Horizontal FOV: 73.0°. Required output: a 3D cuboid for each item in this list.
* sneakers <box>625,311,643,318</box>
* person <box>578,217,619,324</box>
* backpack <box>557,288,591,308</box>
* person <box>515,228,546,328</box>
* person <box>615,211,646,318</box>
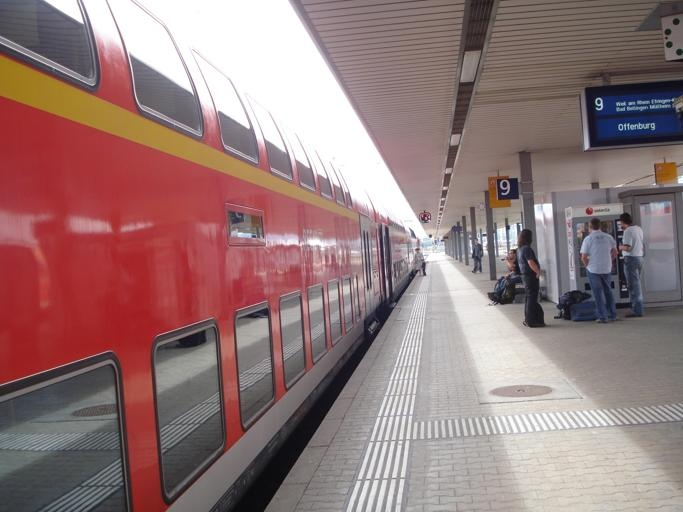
[{"bbox_3d":[7.041,1.435,11.199,0.320,0.143,0.124,4,2,21],"label":"sneakers"},{"bbox_3d":[6.032,0.350,10.855,0.618,2.411,0.831,-5,0,36],"label":"person"},{"bbox_3d":[5.784,1.072,11.751,0.447,0.238,0.542,-10,-2,-7],"label":"backpack"},{"bbox_3d":[4.435,0.559,10.932,0.484,2.303,0.875,-5,0,22],"label":"person"},{"bbox_3d":[6.930,0.233,11.077,0.506,2.468,0.375,-5,0,-31],"label":"person"}]
